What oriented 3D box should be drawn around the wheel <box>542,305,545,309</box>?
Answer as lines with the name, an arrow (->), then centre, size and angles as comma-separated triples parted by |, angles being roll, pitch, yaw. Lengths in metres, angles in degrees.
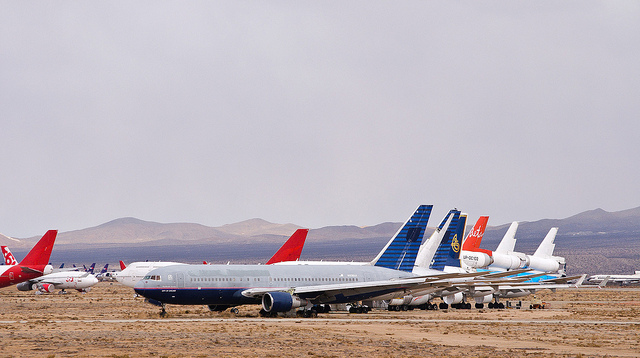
wheel -> 28.794, 16.498, 106.523 | 0.379, 0.555, 0.465 | 1, -2, 22

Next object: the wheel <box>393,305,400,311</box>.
wheel -> 9.202, 15.658, 100.243 | 0.819, 0.687, 0.245 | -1, 1, 1

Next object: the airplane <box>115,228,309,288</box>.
airplane -> -10.163, 12.103, 122.287 | 24.236, 8.203, 23.728 | 8, -12, -41

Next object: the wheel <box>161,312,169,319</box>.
wheel -> -16.851, 14.752, 89.539 | 0.643, 0.128, 0.601 | -1, 3, 0

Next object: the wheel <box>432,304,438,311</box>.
wheel -> 14.219, 15.873, 102.653 | 0.594, 0.542, 0.615 | -2, -5, 0

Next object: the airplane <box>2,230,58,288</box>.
airplane -> -41.124, 11.120, 117.162 | 7.156, 7.873, 3.475 | -2, 0, -10

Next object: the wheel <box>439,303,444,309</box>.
wheel -> 15.156, 15.882, 103.232 | 0.735, 0.582, 0.376 | -2, -3, -1

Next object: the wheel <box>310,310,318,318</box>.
wheel -> -0.745, 14.912, 91.129 | 0.637, 0.616, 0.618 | 1, 8, 0

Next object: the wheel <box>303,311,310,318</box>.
wheel -> -1.469, 14.877, 91.032 | 1.137, 0.912, 0.570 | 1, 1, 7

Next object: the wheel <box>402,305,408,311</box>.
wheel -> 10.258, 15.649, 100.492 | 0.866, 0.728, 0.286 | 0, -15, -1
